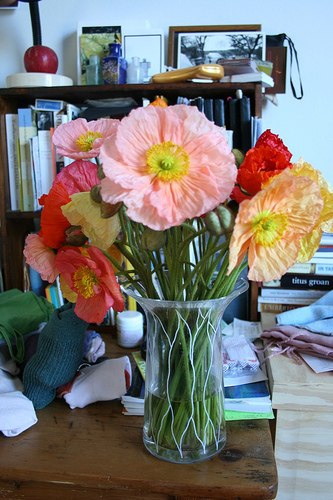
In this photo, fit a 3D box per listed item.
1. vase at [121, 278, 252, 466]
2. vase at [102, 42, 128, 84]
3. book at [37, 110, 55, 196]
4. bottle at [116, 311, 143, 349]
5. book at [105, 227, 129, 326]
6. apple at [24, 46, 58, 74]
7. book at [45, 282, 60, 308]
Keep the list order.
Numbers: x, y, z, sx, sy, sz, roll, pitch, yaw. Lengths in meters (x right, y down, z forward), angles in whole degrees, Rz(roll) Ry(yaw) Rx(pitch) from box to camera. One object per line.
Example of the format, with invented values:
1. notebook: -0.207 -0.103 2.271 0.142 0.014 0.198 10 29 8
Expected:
1. vase: 0.020 0.149 0.612 0.216 0.244 0.220 -1 1 0
2. vase: -0.148 -0.524 1.217 0.072 0.118 0.075 4 11 30
3. book: -0.337 -0.277 1.209 0.050 0.230 0.078 -2 15 -13
4. bottle: -0.097 0.192 1.057 0.077 0.092 0.065 -2 18 -12
5. book: -0.164 0.070 1.141 0.065 0.251 0.131 -4 20 -13
6. apple: -0.351 -0.531 1.198 0.090 0.087 0.087 0 12 0
7. book: -0.333 0.127 1.245 0.034 0.063 0.085 -8 17 -33
